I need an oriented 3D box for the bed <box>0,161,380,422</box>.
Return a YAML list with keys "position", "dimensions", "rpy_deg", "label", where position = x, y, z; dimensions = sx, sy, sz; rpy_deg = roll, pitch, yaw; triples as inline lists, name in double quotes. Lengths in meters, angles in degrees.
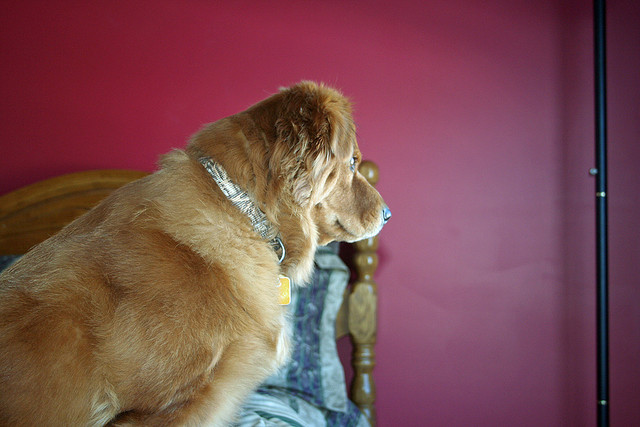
- position: [-0.565, 0.653, 3.899]
  dimensions: [1.504, 1.379, 2.053]
  rpy_deg: [7, 6, 18]
  label: "bed"
